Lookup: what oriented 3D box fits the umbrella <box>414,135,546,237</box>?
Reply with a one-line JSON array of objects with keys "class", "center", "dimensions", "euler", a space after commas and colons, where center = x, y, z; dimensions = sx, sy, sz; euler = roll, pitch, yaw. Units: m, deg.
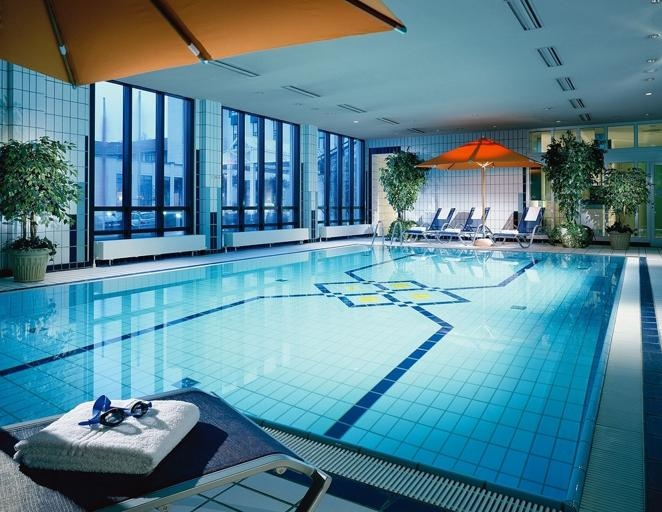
[{"class": "umbrella", "center": [4.417, -2.242, 12.352], "dimensions": [3.459, 2.160, 3.302], "euler": [-2, 7, -7]}]

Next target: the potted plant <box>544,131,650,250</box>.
[{"class": "potted plant", "center": [7.357, -1.895, 12.152], "dimensions": [2.521, 3.213, 1.599], "euler": [3, 8, 24]}]
